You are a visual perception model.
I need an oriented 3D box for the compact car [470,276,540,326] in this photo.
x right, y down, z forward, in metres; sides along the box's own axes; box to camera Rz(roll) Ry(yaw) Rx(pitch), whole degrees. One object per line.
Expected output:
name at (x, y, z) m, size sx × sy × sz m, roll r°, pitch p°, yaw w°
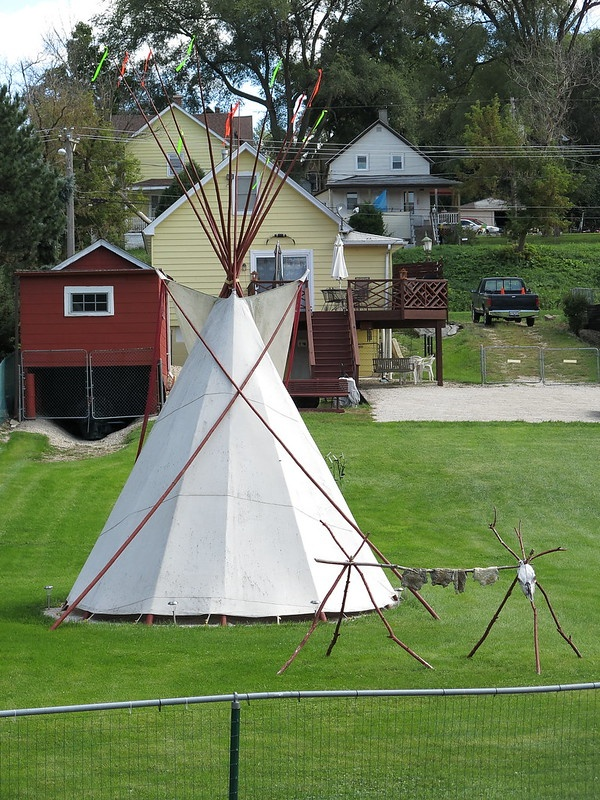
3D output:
compact car at (6.402, -3.123, 44.912) m, size 1.139 × 1.074 × 2.321 m, roll -1°, pitch 10°, yaw -5°

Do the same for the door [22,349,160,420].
door at (-3.811, -0.416, 30.220) m, size 1.387 × 0.958 × 1.549 m, roll -23°, pitch 6°, yaw 13°

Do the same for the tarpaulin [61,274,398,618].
tarpaulin at (-0.705, 0.044, 14.550) m, size 2.651 × 3.522 × 2.818 m, roll 10°, pitch 17°, yaw 12°
